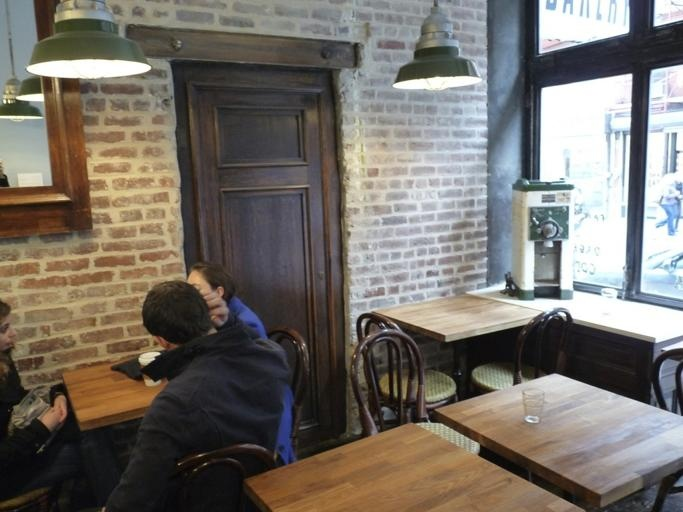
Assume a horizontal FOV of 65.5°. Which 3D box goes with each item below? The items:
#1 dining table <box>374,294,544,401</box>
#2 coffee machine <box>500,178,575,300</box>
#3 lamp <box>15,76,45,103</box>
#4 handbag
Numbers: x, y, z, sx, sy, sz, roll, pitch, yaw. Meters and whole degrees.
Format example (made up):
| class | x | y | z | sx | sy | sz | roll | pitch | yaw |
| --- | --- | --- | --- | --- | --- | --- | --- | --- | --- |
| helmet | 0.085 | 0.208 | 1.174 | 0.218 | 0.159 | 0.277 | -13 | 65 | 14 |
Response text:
| class | x | y | z | sx | sy | sz | roll | pitch | yaw |
| --- | --- | --- | --- | --- | --- | --- | --- | --- | --- |
| dining table | 0.761 | 0.498 | 3.534 | 0.778 | 0.694 | 0.759 | -8 | 11 | -34 |
| coffee machine | 1.386 | -0.117 | 3.721 | 0.427 | 0.830 | 0.248 | 0 | 10 | 20 |
| lamp | -1.525 | -0.819 | 2.638 | 0.125 | 0.124 | 0.121 | -4 | 12 | -20 |
| handbag | -1.452 | 0.764 | 2.530 | 0.096 | 0.264 | 0.208 | 38 | -20 | 15 |
